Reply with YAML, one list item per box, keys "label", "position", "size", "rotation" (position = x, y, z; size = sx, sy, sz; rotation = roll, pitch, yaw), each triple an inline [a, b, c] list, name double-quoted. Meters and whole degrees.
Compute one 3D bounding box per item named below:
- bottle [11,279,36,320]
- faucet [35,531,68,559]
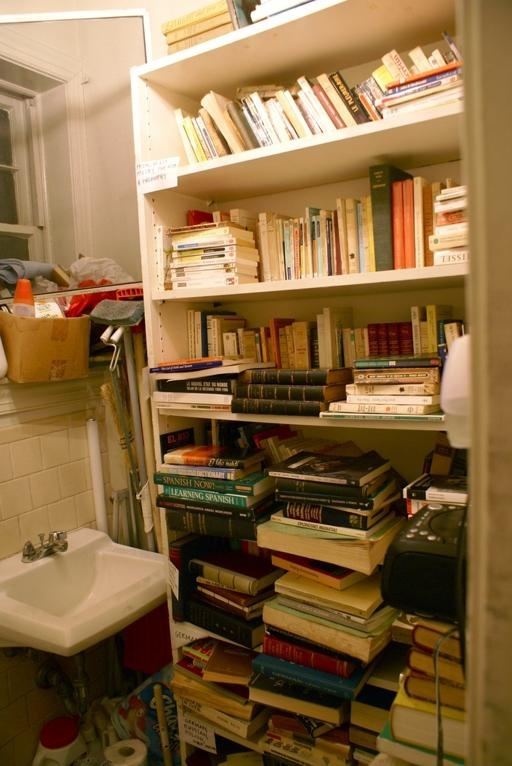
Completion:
- label: "bottle"
  position: [-0.661, -0.244, 1.647]
  size: [0.051, 0.108, 0.109]
  rotation: [-3, 7, 4]
- label: "faucet"
  position: [-0.609, 0.469, 1.718]
  size: [0.060, 0.062, 0.100]
  rotation: [6, 9, 42]
